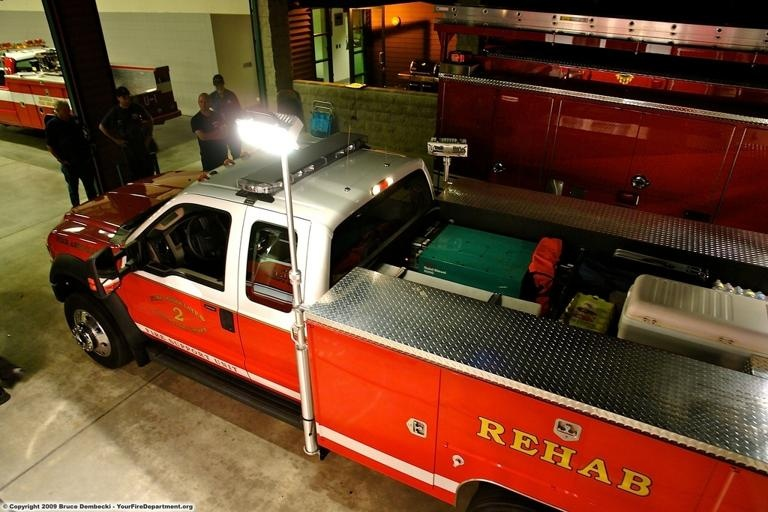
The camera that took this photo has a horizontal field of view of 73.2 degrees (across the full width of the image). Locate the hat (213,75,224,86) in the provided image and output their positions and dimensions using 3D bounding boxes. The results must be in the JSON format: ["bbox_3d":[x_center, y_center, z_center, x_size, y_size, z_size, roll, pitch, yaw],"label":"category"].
[{"bbox_3d":[-3.351,-3.563,10.413,0.175,0.245,0.499,-9,31,-17],"label":"hat"}]
